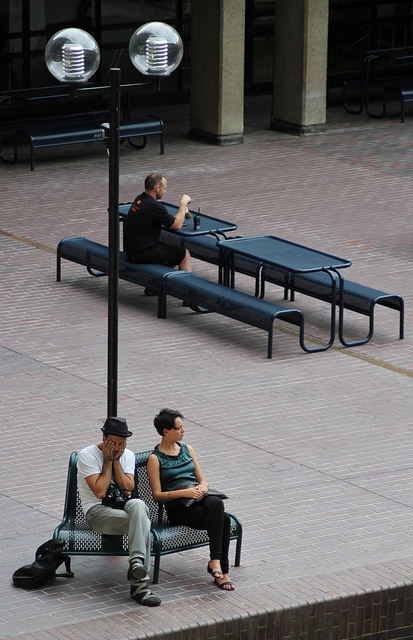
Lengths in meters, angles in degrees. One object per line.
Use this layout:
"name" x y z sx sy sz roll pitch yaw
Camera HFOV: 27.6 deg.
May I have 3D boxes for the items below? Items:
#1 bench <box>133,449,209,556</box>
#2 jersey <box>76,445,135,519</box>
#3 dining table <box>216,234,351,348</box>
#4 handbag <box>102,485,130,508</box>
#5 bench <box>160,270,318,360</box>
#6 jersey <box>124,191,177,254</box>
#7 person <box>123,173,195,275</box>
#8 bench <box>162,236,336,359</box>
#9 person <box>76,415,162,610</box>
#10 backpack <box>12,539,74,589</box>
"bench" -0.212 0.962 4.528 0.333 0.497 0.502 -2 6 -25
"jersey" -0.514 0.839 4.407 0.324 0.378 0.212 -1 6 -18
"dining table" 0.757 -0.308 9.721 1.351 0.966 2.032 -15 23 -31
"handbag" -0.465 0.896 4.293 0.109 0.035 0.099 11 24 -3
"bench" 0.351 -0.050 8.999 1.840 0.446 0.736 17 -12 -33
"jersey" -0.662 -1.145 10.092 0.678 0.720 0.646 2 18 -6
"person" -0.587 -1.149 9.893 0.780 1.126 0.375 0 6 -6
"bench" 0.447 -0.279 9.383 1.064 0.784 1.783 -9 21 -39
"person" -0.460 0.913 4.178 0.315 0.816 0.691 -1 6 -14
"backpack" -0.834 1.215 4.228 0.351 0.180 0.223 -12 -1 -8
